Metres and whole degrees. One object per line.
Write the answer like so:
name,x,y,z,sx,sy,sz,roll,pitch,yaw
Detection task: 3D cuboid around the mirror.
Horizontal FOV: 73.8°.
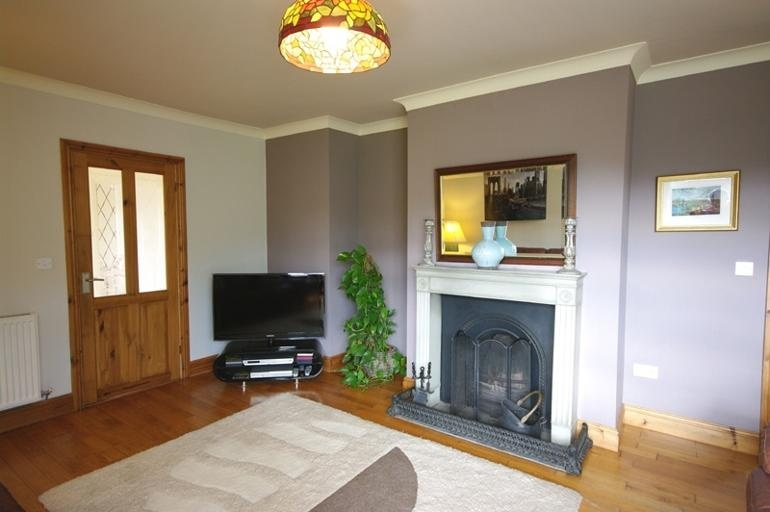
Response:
mirror,1.111,-0.408,5.004,1.367,1.035,0.067,0,5,27

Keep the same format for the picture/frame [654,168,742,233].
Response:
picture/frame,2.867,-0.505,4.654,0.589,0.546,0.041,2,1,27

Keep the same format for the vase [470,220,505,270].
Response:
vase,0.987,-0.112,4.957,0.328,0.438,0.331,-2,9,-4

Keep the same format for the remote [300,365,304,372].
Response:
remote,-0.930,1.257,5.730,0.050,0.046,0.013,8,-27,4

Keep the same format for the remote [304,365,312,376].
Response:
remote,-0.859,1.279,5.732,0.067,0.094,0.023,6,-24,-2

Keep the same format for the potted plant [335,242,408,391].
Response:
potted plant,-0.169,0.662,5.877,0.740,1.557,0.428,0,0,-7
